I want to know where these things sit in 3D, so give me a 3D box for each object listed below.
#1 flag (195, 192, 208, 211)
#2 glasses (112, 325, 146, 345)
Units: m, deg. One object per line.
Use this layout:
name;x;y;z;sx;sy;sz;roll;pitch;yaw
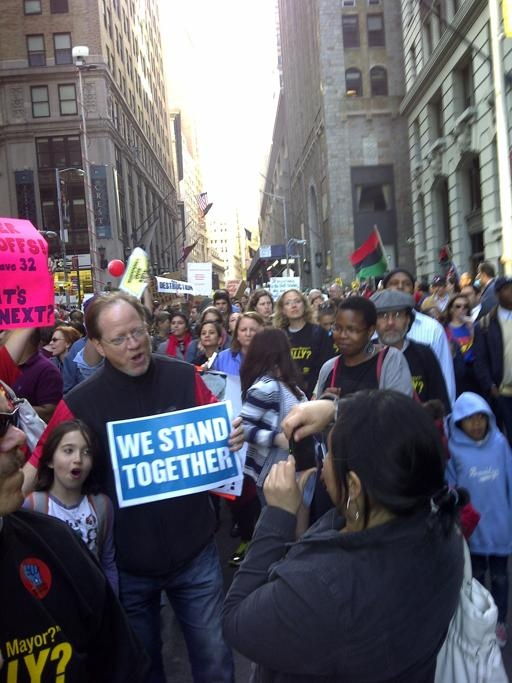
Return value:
flag;-4.474;-11.508;51.124;0.937;1.651;1.495;-4;5;-6
glasses;-0.598;-0.028;2.936;0.181;0.081;0.055;-6;5;-30
